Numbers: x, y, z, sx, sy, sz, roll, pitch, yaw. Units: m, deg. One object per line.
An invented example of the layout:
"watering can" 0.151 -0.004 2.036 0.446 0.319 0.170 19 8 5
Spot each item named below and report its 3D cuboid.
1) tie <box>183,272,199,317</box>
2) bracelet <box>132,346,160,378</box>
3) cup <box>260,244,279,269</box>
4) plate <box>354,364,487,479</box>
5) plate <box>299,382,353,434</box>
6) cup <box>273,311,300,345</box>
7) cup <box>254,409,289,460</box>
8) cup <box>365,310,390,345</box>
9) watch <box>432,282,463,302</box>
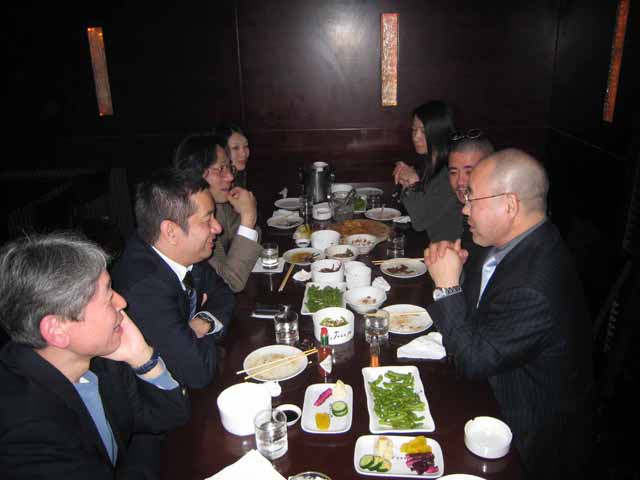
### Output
"tie" -0.663 0.279 2.520 0.057 0.173 0.128 -8 17 2
"bracelet" -0.724 0.506 2.025 0.085 0.041 0.116 -23 4 2
"cup" -0.313 0.113 3.185 0.141 0.162 0.141 1 21 0
"plate" 0.300 0.673 1.865 0.312 0.111 0.530 -1 20 8
"plate" 0.027 0.645 1.910 0.197 0.085 0.244 -2 20 4
"cup" -0.139 0.412 2.352 0.140 0.159 0.140 -1 22 1
"cup" -0.146 0.693 1.791 0.141 0.162 0.152 0 21 0
"cup" 0.281 0.413 2.331 0.094 0.152 0.158 2 25 9
"watch" 0.595 0.247 2.300 0.094 0.045 0.095 -3 11 43
